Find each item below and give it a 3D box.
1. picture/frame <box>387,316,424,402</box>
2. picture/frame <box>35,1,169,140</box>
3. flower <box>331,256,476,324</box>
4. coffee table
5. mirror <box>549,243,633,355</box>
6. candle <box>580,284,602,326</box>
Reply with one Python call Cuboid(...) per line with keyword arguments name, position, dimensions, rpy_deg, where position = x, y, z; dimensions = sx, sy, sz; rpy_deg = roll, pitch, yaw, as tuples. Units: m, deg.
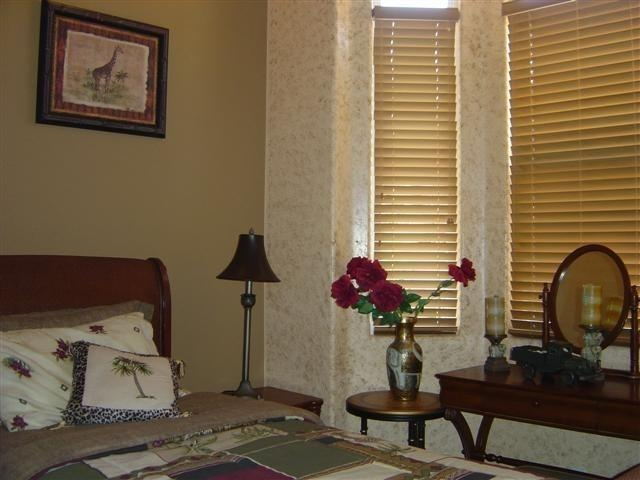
Cuboid(name="picture/frame", position=(0.506, 0.671, 3.268), dimensions=(0.227, 0.445, 0.222), rpy_deg=(-3, -9, 13))
Cuboid(name="picture/frame", position=(-1.300, -0.986, 3.337), dimensions=(0.916, 0.746, 0.098), rpy_deg=(4, -3, -32))
Cuboid(name="flower", position=(0.498, 0.288, 3.331), dimensions=(0.806, 0.401, 0.598), rpy_deg=(-5, 11, 4))
Cuboid(name="coffee table", position=(0.403, 0.913, 3.166), dimensions=(0.384, 0.405, 0.380), rpy_deg=(2, -2, -44))
Cuboid(name="mirror", position=(1.554, 0.348, 3.244), dimensions=(0.051, 0.703, 0.536), rpy_deg=(14, -19, -38))
Cuboid(name="candle", position=(1.521, 0.363, 3.196), dimensions=(0.112, 0.212, 0.120), rpy_deg=(8, 13, 25))
